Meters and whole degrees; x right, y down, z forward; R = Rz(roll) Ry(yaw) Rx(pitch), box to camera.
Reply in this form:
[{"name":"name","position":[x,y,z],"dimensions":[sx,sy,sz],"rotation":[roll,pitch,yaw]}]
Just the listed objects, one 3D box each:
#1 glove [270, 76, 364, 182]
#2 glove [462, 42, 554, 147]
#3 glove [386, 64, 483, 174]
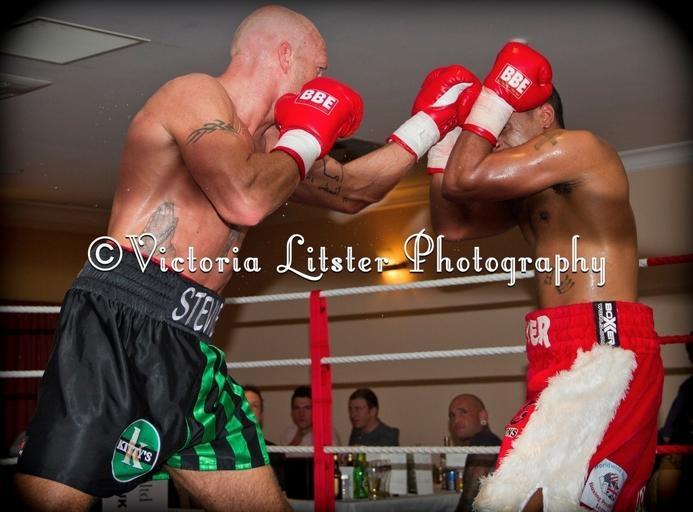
[{"name":"glove","position":[-0.100,-0.382,1.813],"dimensions":[0.179,0.349,0.106],"rotation":[32,-29,34]},{"name":"glove","position":[0.538,-0.507,2.003],"dimensions":[0.240,0.357,0.131],"rotation":[27,1,10]},{"name":"glove","position":[0.389,-0.524,2.383],"dimensions":[0.301,0.384,0.184],"rotation":[46,4,32]}]
